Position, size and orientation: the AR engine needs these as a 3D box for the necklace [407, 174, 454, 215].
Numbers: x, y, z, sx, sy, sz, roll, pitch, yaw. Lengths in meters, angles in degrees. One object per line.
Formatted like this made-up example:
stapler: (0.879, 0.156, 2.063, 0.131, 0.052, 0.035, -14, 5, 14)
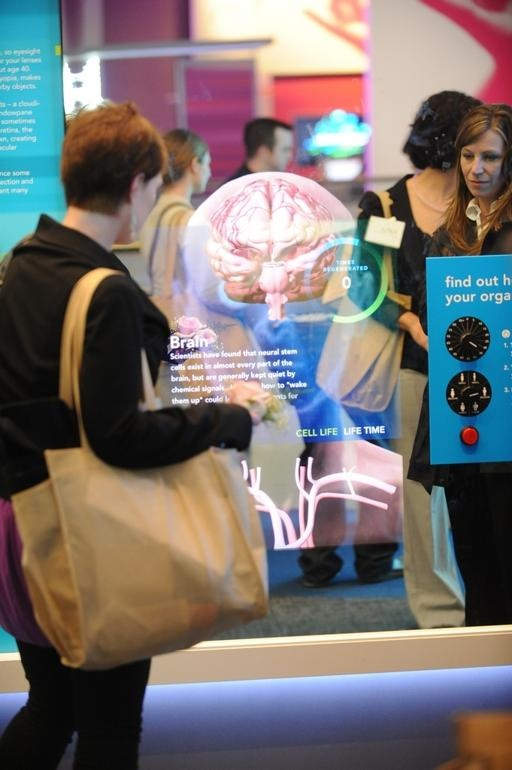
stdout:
necklace: (0.591, -0.662, 2.200, 0.116, 0.147, 0.078, 5, 9, -7)
